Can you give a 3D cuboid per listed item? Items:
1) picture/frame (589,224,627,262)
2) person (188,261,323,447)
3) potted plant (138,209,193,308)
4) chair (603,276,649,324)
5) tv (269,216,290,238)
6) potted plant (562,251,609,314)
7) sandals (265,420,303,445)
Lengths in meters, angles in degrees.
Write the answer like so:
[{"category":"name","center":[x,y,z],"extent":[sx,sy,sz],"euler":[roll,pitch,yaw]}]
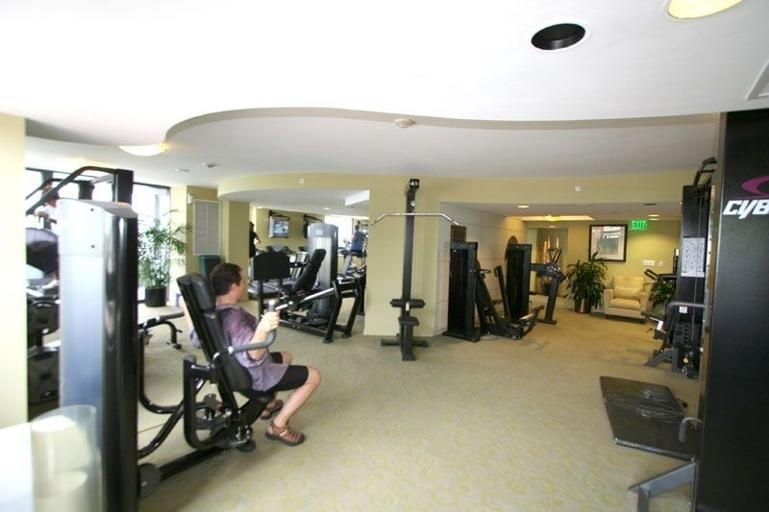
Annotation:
[{"category":"picture/frame","center":[4.676,-0.274,10.572],"extent":[0.784,0.903,0.038],"euler":[4,1,43]},{"category":"person","center":[-0.997,0.869,4.289],"extent":[0.901,1.596,0.980],"euler":[-10,18,-37]},{"category":"potted plant","center":[-4.110,0.125,8.936],"extent":[0.925,1.509,0.994],"euler":[-10,-7,28]},{"category":"chair","center":[4.540,0.763,9.553],"extent":[1.035,0.730,0.897],"euler":[-1,6,-36]},{"category":"tv","center":[-2.696,-0.752,12.915],"extent":[0.086,0.494,0.593],"euler":[3,3,40]},{"category":"potted plant","center":[3.947,0.548,10.071],"extent":[0.799,0.996,0.664],"euler":[6,0,-28]},{"category":"sandals","center":[-0.871,1.543,4.541],"extent":[0.331,0.142,0.158],"euler":[13,3,-8]}]
